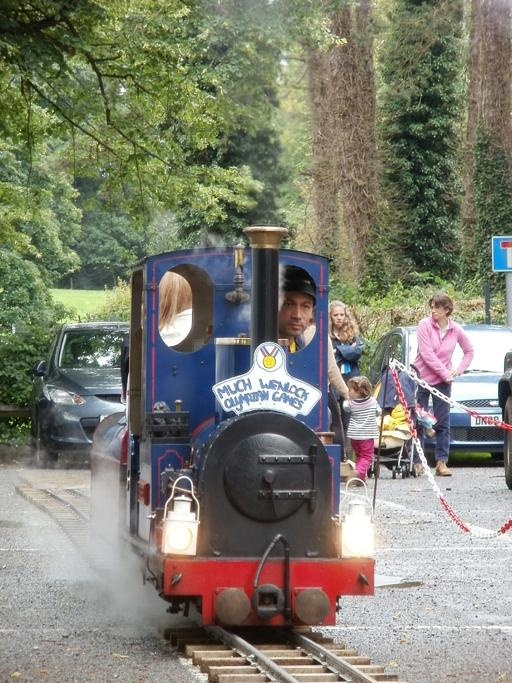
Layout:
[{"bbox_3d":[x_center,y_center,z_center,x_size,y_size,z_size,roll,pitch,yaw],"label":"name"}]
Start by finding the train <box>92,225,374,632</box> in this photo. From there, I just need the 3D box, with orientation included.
[{"bbox_3d":[-0.104,0.456,4.348,1.054,1.985,1.656,-1,2,-9],"label":"train"}]

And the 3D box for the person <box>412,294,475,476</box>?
[{"bbox_3d":[2.253,0.527,10.642,0.799,2.179,0.727,1,-4,34],"label":"person"}]
